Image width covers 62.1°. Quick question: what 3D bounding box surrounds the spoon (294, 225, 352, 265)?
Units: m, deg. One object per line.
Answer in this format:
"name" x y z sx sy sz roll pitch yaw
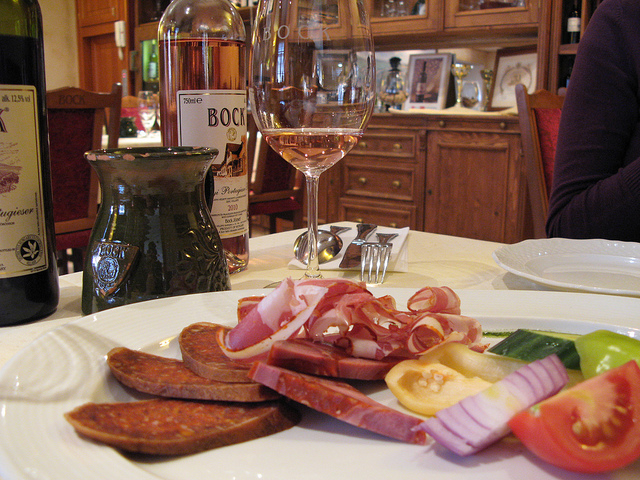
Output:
"spoon" -0.001 0.010 0.756 0.061 0.020 0.183 -3 14 3

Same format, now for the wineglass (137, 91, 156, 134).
"wineglass" -1.138 -0.838 3.511 0.105 0.259 0.480 -4 14 -16

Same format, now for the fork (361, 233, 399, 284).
"fork" 0.082 0.012 0.739 0.043 0.017 0.183 4 19 12

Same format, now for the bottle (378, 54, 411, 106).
"bottle" 0.459 -1.045 3.474 0.192 0.322 0.281 -3 14 -11

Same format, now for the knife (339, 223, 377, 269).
"knife" 0.054 0.006 0.768 0.029 0.007 0.179 7 20 12

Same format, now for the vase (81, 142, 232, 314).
"vase" -0.112 -0.015 0.530 0.114 0.167 0.178 3 10 22
